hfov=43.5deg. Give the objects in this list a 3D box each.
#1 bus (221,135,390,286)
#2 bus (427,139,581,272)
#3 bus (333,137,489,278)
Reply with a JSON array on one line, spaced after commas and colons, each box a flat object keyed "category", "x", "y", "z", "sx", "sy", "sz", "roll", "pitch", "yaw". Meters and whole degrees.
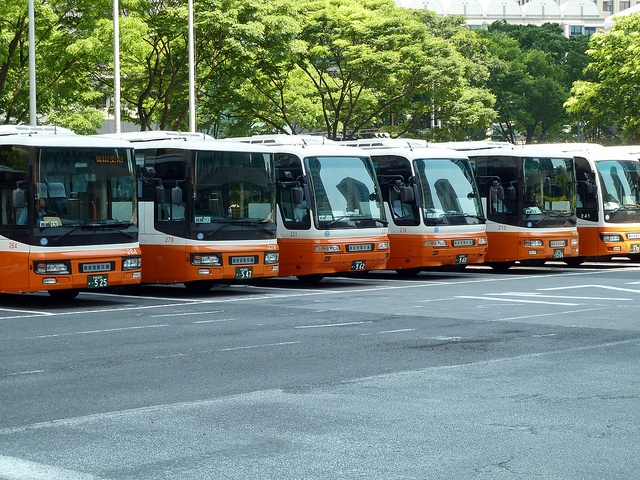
[{"category": "bus", "x": -1.172, "y": -0.731, "z": 23.459, "sx": 2.904, "sy": 3.138, "sz": 7.732, "roll": -3, "pitch": -1, "yaw": -29}, {"category": "bus", "x": 6.365, "y": -1.150, "z": 27.424, "sx": 3.567, "sy": 3.193, "sz": 7.713, "roll": -3, "pitch": 2, "yaw": -10}, {"category": "bus", "x": 2.648, "y": -0.733, "z": 25.609, "sx": 3.225, "sy": 3.378, "sz": 7.424, "roll": -3, "pitch": -2, "yaw": -21}]
